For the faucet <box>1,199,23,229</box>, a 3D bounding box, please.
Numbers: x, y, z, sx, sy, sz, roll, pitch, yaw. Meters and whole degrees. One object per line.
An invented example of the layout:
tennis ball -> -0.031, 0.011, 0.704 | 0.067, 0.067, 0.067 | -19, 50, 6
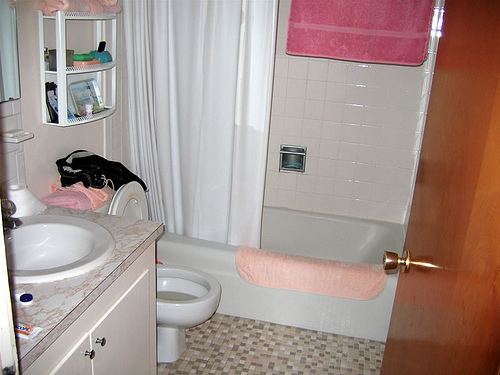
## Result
faucet -> -0.909, 0.081, 1.442 | 0.061, 0.098, 0.191 | -9, 22, -32

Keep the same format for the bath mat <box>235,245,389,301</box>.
bath mat -> 0.367, 0.549, 2.365 | 0.939, 0.223, 0.128 | 6, 18, 8

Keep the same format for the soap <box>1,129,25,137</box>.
soap -> -1.047, -0.242, 1.679 | 0.056, 0.021, 0.086 | 8, 19, 14

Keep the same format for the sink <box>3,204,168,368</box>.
sink -> -0.683, 0.245, 1.317 | 0.457, 0.170, 0.737 | 7, 18, 11

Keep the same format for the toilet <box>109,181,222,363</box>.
toilet -> -0.446, 0.485, 2.097 | 0.552, 0.958, 0.401 | 8, 17, 15
